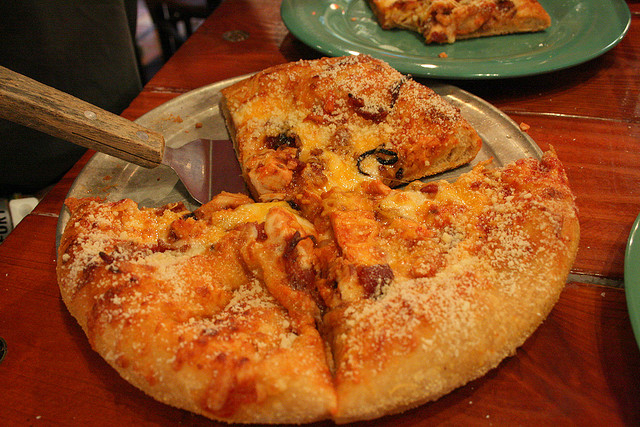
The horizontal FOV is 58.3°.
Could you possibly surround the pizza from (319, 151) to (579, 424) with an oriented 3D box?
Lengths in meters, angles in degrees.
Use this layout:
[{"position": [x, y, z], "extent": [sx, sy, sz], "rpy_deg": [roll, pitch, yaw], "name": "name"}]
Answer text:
[{"position": [0.441, 0.216, 1.960], "extent": [1.029, 0.302, 0.697], "rpy_deg": [-18, 82, 0], "name": "pizza"}]
